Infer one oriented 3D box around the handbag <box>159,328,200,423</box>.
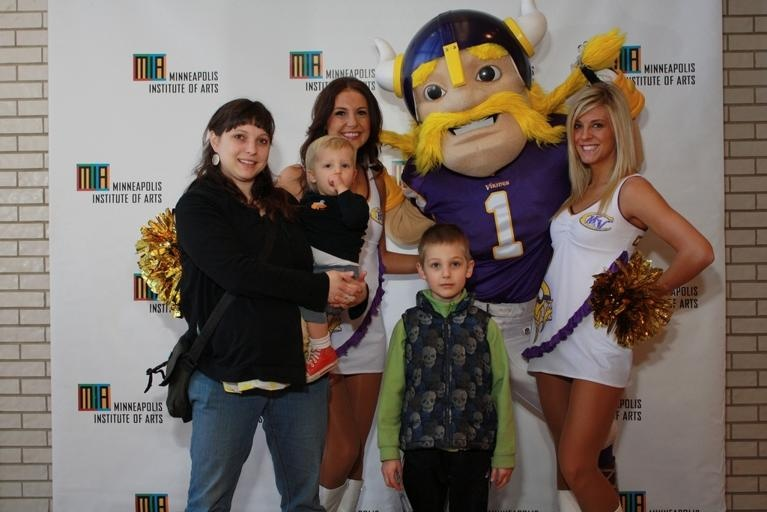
[{"bbox_3d":[-1.041,0.626,4.223,0.146,0.425,0.273,1,1,-29],"label":"handbag"}]
